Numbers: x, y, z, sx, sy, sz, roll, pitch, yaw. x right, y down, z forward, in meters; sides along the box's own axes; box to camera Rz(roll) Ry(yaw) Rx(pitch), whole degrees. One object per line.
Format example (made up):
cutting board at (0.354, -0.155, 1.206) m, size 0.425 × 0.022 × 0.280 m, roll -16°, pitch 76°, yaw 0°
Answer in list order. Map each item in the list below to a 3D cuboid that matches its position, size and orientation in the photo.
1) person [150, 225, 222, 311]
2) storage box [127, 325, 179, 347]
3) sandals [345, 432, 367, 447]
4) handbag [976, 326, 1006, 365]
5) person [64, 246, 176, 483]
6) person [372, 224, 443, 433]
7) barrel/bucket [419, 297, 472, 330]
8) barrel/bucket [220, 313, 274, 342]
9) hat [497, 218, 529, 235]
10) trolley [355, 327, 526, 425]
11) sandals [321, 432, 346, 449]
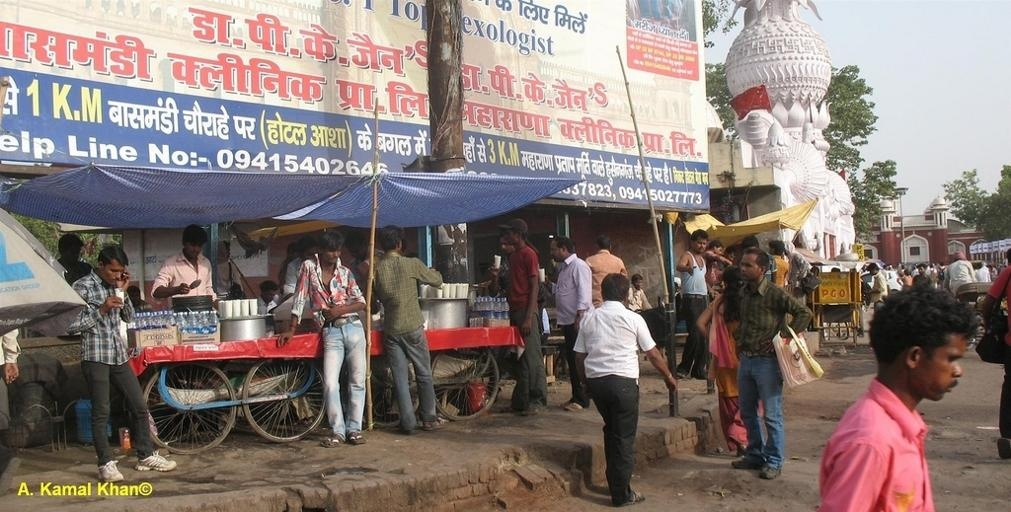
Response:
person at (-5.506, 0.260, 15.539) m, size 0.878 × 1.685 × 1.190 m, roll 1°, pitch 0°, yaw 3°
storage box at (-5.633, 1.281, 14.571) m, size 0.472 × 0.245 × 0.432 m, roll -2°, pitch -1°, yaw 9°
sandals at (-2.474, 2.995, 14.956) m, size 0.370 × 0.132 × 0.150 m, roll -1°, pitch 4°, yaw 10°
handbag at (7.699, 1.418, 14.576) m, size 0.461 × 0.517 × 0.191 m, roll -10°, pitch 4°, yaw -22°
person at (-6.051, 1.636, 14.186) m, size 1.128 × 3.498 × 1.622 m, roll -9°, pitch -9°, yaw 33°
person at (-1.873, 1.247, 15.894) m, size 1.465 × 3.430 × 1.127 m, roll -4°, pitch 5°, yaw -21°
barrel/bucket at (-1.062, 1.018, 16.084) m, size 0.628 × 0.333 × 0.621 m, roll -1°, pitch -6°, yaw 0°
barrel/bucket at (-4.323, 1.195, 15.015) m, size 0.538 × 0.285 × 0.531 m, roll -3°, pitch -7°, yaw 0°
hat at (0.108, -0.540, 16.483) m, size 0.486 × 0.202 × 0.315 m, roll 5°, pitch -3°, yaw 6°
trolley at (-1.159, 2.188, 16.430) m, size 3.253 × 1.298 × 2.146 m, roll -4°, pitch -21°, yaw 10°
sandals at (-2.845, 3.013, 14.915) m, size 0.400 × 0.167 × 0.200 m, roll -3°, pitch -2°, yaw -5°
